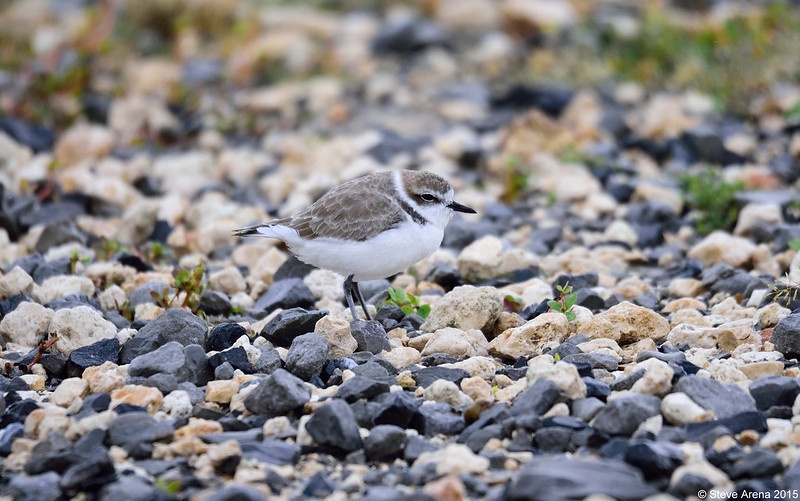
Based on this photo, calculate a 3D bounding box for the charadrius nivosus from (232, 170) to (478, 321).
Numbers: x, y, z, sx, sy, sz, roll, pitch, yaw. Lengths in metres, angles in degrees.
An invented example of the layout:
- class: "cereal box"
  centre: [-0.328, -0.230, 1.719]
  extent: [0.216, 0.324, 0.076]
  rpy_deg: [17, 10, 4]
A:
- class: "charadrius nivosus"
  centre: [-0.529, -0.091, 8.242]
  extent: [2.240, 1.031, 1.436]
  rpy_deg: [4, 95, 14]
